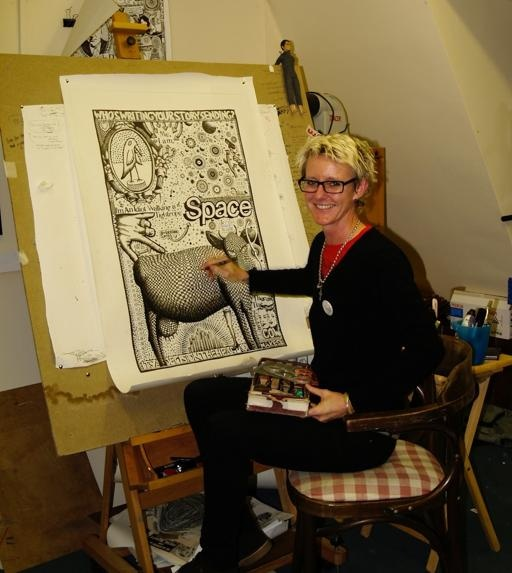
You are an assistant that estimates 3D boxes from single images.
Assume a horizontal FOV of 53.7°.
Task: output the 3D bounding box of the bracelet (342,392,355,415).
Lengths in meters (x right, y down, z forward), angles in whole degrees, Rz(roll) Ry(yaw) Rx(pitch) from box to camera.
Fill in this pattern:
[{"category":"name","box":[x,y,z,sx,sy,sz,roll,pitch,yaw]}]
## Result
[{"category":"bracelet","box":[0.193,0.249,1.063,0.015,0.037,0.036,-3,0,19]}]
